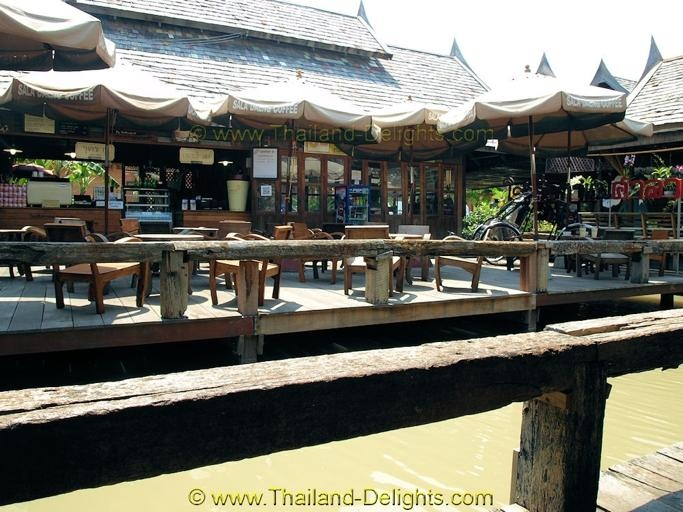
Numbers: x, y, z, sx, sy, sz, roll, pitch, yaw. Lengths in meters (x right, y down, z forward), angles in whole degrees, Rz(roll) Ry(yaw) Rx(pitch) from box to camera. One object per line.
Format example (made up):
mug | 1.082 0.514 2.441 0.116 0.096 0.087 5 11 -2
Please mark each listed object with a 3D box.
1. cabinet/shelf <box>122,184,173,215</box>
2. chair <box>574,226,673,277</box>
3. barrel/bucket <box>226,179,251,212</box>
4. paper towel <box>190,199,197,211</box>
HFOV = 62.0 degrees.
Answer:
cabinet/shelf | -3.859 -1.100 11.244 0.703 0.625 0.246 -1 7 -6
chair | 4.083 -0.049 8.287 0.724 0.900 0.704 2 10 7
barrel/bucket | -2.062 -1.207 11.526 0.589 0.612 0.545 0 -7 0
paper towel | -2.924 -1.012 11.242 0.135 0.224 0.267 -4 1 -15
